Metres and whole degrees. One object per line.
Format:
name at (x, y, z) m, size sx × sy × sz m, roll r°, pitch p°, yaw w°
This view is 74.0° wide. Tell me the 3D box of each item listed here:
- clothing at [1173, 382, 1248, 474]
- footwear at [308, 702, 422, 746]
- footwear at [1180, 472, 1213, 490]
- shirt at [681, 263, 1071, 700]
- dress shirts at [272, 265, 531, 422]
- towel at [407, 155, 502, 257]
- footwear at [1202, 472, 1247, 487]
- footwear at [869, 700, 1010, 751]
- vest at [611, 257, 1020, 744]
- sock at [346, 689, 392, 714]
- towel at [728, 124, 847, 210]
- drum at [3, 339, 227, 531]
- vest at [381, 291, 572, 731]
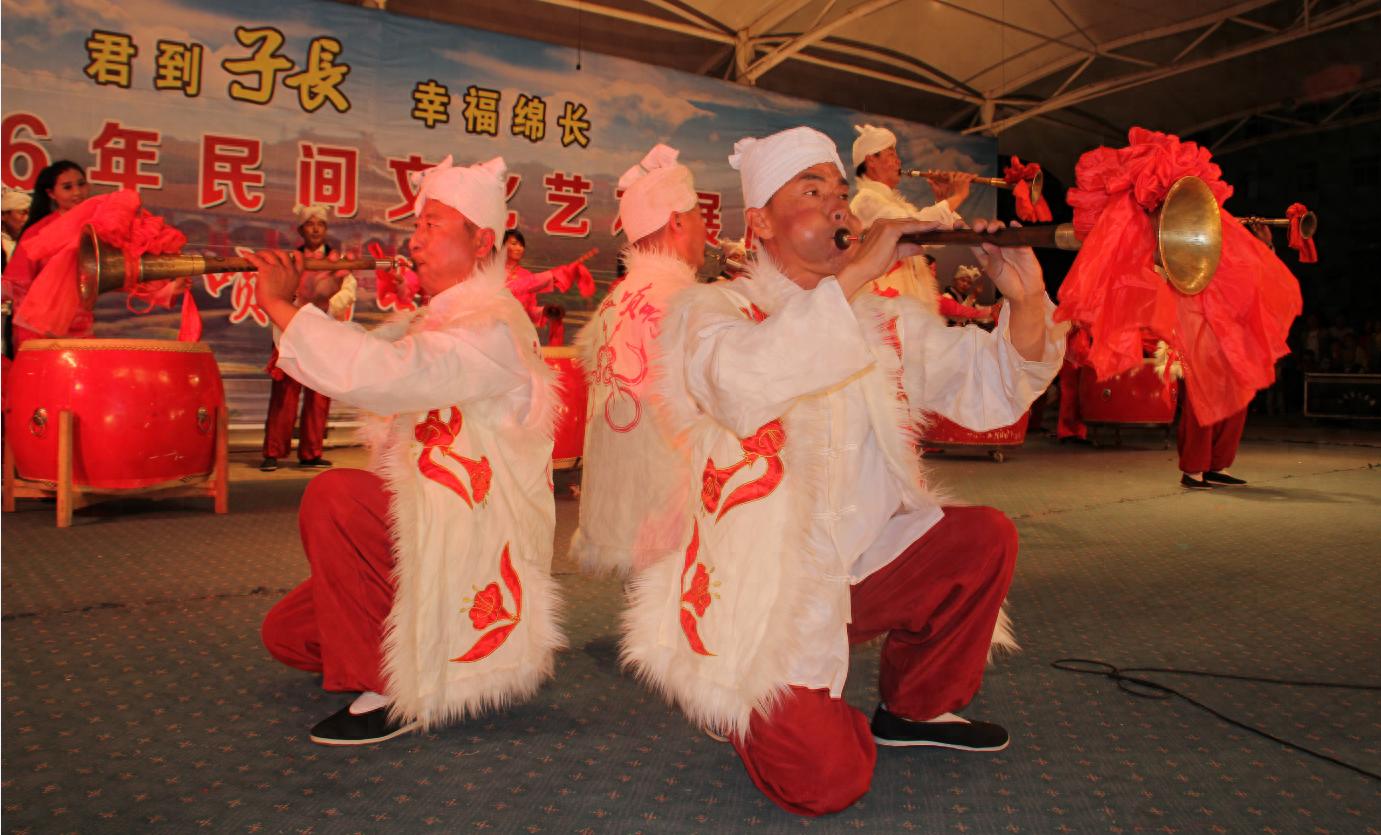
clothing at (3.771, 0.177, 6.709) m, size 0.372 × 0.596 × 0.498 m, roll 7°, pitch 11°, yaw 26°
footwear at (-1.143, 1.090, 3.203) m, size 0.331 × 0.081 × 0.142 m, roll 2°, pitch -3°, yaw -39°
footwear at (3.697, 0.489, 6.722) m, size 0.198 × 0.072 × 0.091 m, roll 4°, pitch 1°, yaw -8°
shirt at (0.416, 0.282, 3.793) m, size 1.546 × 1.686 × 1.472 m, roll 3°, pitch -7°, yaw -44°
dress shirts at (-0.950, -0.300, 3.136) m, size 0.639 × 0.238 × 0.543 m, roll -11°, pitch 21°, yaw -33°
towel at (-0.867, -0.804, 3.479) m, size 0.392 × 0.373 × 0.276 m, roll -17°, pitch 30°, yaw -32°
footwear at (3.990, 0.460, 6.817) m, size 0.361 × 0.133 × 0.123 m, roll 1°, pitch 1°, yaw 7°
footwear at (0.865, 1.097, 3.281) m, size 0.528 × 0.172 × 0.170 m, roll -1°, pitch -3°, yaw 1°
vest at (0.402, 0.280, 3.777) m, size 1.548 × 1.681 × 1.724 m, roll -1°, pitch 0°, yaw 40°
sock at (-1.126, 1.012, 3.227) m, size 0.122 × 0.080 × 0.072 m, roll 2°, pitch -5°, yaw -1°
towel at (0.356, -0.880, 3.228) m, size 0.378 × 0.282 × 0.277 m, roll 6°, pitch 15°, yaw 15°
drum at (-3.441, 0.060, 5.640) m, size 1.206 × 0.936 × 1.149 m, roll 0°, pitch 0°, yaw 0°
vest at (-0.755, 0.341, 3.268) m, size 0.377 × 1.356 × 0.988 m, roll -7°, pitch -3°, yaw 40°
